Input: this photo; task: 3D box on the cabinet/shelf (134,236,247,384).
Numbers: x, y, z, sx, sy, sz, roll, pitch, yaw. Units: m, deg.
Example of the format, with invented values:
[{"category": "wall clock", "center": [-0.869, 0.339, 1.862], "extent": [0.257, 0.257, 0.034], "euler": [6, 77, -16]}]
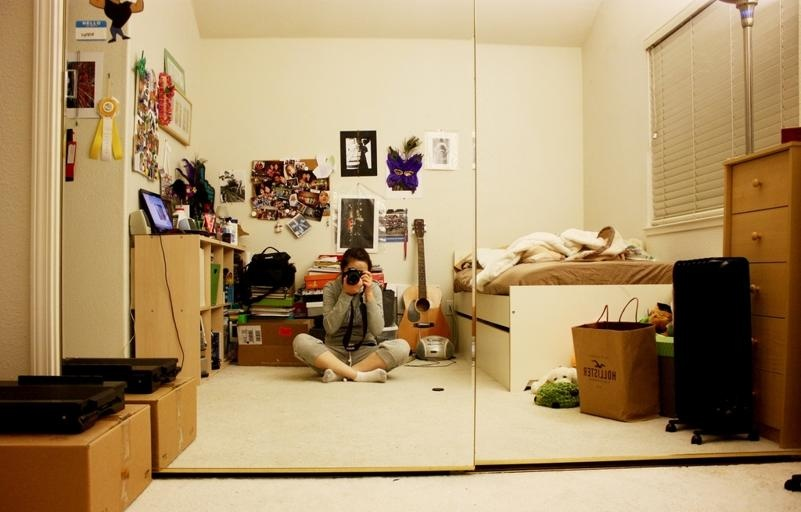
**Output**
[{"category": "cabinet/shelf", "center": [-1.411, 0.358, 3.938], "extent": [0.363, 0.861, 1.017], "euler": [0, -1, -3]}]

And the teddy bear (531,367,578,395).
[{"category": "teddy bear", "center": [0.944, 0.780, 3.686], "extent": [0.268, 0.172, 0.286], "euler": [0, 1, 9]}]

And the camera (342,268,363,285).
[{"category": "camera", "center": [-0.325, 0.146, 4.078], "extent": [0.134, 0.078, 0.095], "euler": [0, -1, -5]}]

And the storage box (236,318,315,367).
[{"category": "storage box", "center": [-1.011, 0.657, 4.436], "extent": [0.399, 0.234, 0.393], "euler": [0, -4, -3]}]

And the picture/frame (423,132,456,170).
[{"category": "picture/frame", "center": [0.350, -0.896, 5.163], "extent": [0.329, 0.319, 0.012], "euler": [7, 11, 35]}]

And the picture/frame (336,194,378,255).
[{"category": "picture/frame", "center": [-0.365, -0.270, 5.023], "extent": [0.392, 0.476, 0.008], "euler": [-3, 7, -33]}]

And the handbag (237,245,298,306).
[{"category": "handbag", "center": [-1.060, 0.177, 4.689], "extent": [0.386, 0.442, 0.165], "euler": [7, -8, 19]}]

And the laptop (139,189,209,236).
[{"category": "laptop", "center": [-1.560, -0.283, 4.034], "extent": [0.324, 0.203, 0.343], "euler": [2, -2, -6]}]

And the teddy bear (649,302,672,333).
[{"category": "teddy bear", "center": [1.606, 0.387, 3.682], "extent": [0.111, 0.153, 0.107], "euler": [13, -36, 20]}]

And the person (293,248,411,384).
[{"category": "person", "center": [-0.360, 0.399, 4.180], "extent": [0.790, 0.826, 0.742], "euler": [1, 2, -15]}]

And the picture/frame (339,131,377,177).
[{"category": "picture/frame", "center": [-0.362, -0.866, 5.070], "extent": [0.340, 0.371, 0.008], "euler": [1, 7, 20]}]

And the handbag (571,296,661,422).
[{"category": "handbag", "center": [1.236, 0.623, 3.443], "extent": [0.645, 0.837, 0.329], "euler": [-3, -3, 41]}]
